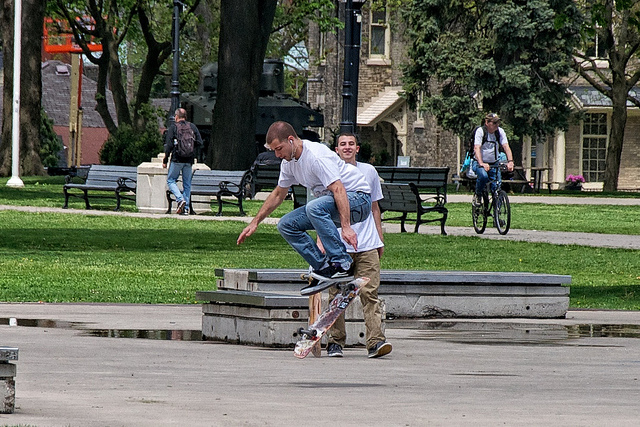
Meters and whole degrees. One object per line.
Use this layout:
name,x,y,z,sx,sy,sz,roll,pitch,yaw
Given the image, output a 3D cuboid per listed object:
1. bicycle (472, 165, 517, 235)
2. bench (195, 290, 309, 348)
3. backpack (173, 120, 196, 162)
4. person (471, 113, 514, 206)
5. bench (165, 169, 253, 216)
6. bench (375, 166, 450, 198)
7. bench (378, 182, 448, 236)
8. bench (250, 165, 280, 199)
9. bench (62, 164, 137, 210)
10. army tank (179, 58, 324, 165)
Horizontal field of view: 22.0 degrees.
bicycle,4.411,-0.367,42.003,0.764,1.789,1.583,0,1,-10
bench,-1.256,2.057,31.473,2.164,1.076,0.404,0,1,16
backpack,-3.709,-2.033,45.398,0.603,1.145,0.440,0,1,-11
person,4.320,-1.523,41.502,0.983,2.150,1.334,0,1,5
bench,-3.068,-0.636,47.322,2.275,1.333,2.871,0,1,-3
bench,2.631,-0.856,49.021,0.686,0.953,2.636,-28,20,-38
bench,2.325,-0.097,43.052,1.035,1.366,2.557,-2,2,-21
bench,-1.639,-1.057,48.212,0.923,1.343,1.006,1,19,-8
bench,-6.318,-0.779,48.206,2.476,1.309,1.149,3,3,43
army tank,-2.659,-4.030,62.666,3.341,2.915,5.757,1,7,-4
